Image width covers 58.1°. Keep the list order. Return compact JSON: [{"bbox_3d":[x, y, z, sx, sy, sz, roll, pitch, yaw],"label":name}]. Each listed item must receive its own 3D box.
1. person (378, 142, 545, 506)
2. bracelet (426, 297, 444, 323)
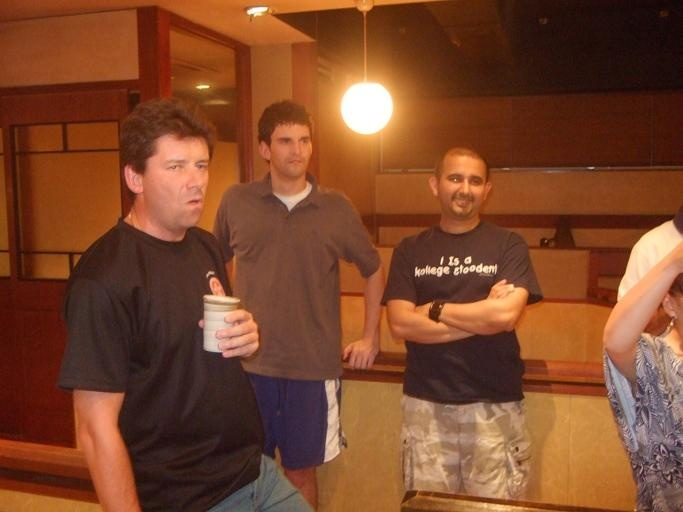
[{"bbox_3d":[0.604,0.334,3.129,0.784,1.764,0.377,0,5,19],"label":"person"},{"bbox_3d":[0.462,0.275,3.039,0.069,0.106,0.097,11,-34,30],"label":"bracelet"}]
